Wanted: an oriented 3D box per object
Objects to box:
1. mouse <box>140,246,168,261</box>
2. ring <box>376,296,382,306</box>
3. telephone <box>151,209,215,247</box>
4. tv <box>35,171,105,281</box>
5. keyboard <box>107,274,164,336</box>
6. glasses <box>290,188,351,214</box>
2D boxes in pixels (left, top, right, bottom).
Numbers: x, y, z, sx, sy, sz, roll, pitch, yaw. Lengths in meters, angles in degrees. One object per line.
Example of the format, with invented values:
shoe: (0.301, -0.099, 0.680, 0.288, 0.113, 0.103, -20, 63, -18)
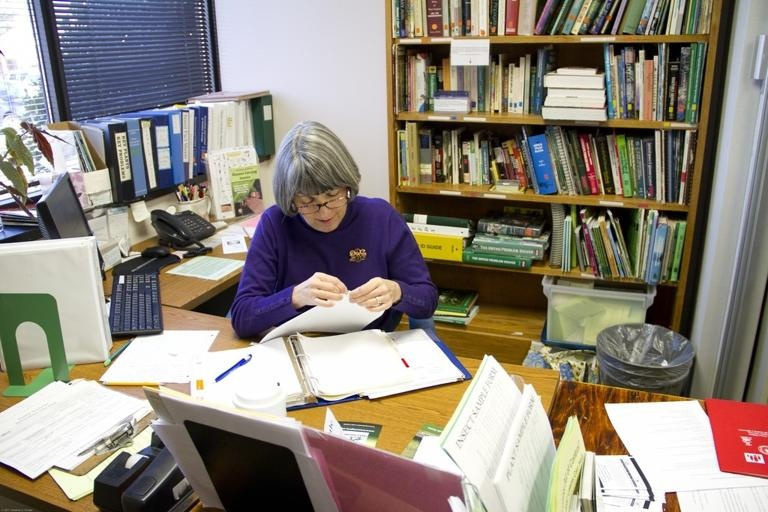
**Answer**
mouse: (-1.156, -0.013, 2.597, 0.108, 0.033, 0.061, 3, 15, 8)
ring: (-0.019, 0.155, 1.802, 0.019, 0.025, 0.028, 8, 1, 0)
telephone: (-1.087, -0.170, 2.855, 0.329, 0.148, 0.392, 10, 14, 2)
tv: (-1.280, -0.124, 2.100, 0.150, 0.373, 0.381, -13, 35, -5)
keyboard: (-1.014, 0.188, 2.113, 0.189, 0.050, 0.432, -7, 30, -26)
glasses: (-0.232, -0.199, 1.934, 0.218, 0.092, 0.064, -4, 19, -7)
